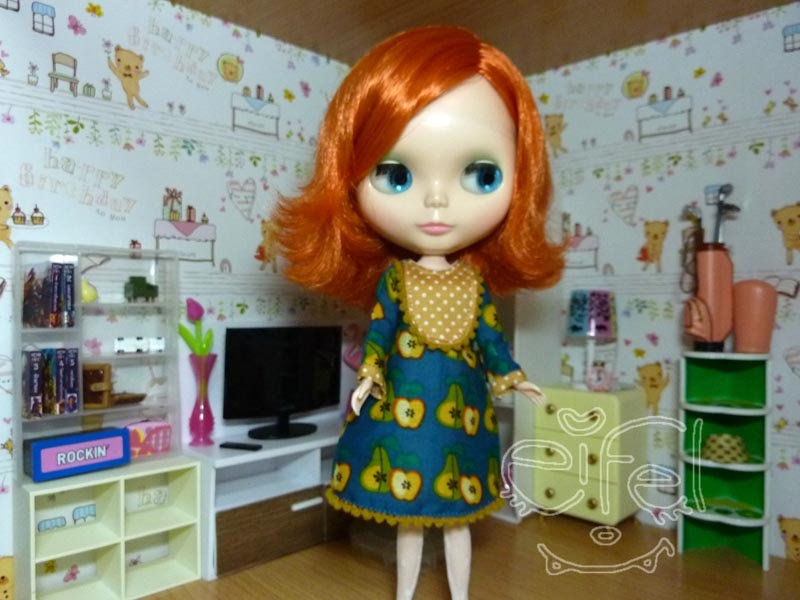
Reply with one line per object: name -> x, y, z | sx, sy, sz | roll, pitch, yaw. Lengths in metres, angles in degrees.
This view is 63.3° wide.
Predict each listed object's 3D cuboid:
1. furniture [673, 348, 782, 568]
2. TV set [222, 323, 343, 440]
furniture -> 1.605, 0.774, 3.233 | 0.410, 1.048, 0.354 | 2, 9, 11
TV set -> -0.647, 0.430, 3.455 | 0.563, 0.502, 0.170 | -1, 3, -32
